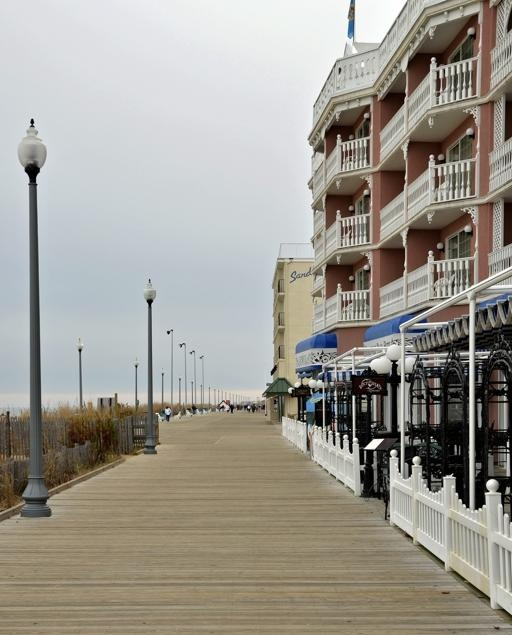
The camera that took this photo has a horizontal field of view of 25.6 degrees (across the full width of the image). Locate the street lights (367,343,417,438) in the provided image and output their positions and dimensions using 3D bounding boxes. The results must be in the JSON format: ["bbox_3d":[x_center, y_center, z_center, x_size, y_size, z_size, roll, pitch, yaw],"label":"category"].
[{"bbox_3d":[2.287,1.215,18.519,0.525,1.458,0.656,-2,7,-20],"label":"street lights"}]
